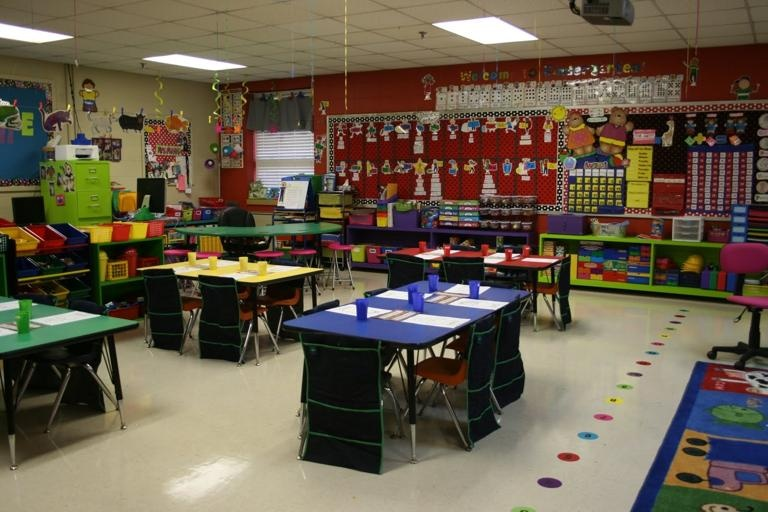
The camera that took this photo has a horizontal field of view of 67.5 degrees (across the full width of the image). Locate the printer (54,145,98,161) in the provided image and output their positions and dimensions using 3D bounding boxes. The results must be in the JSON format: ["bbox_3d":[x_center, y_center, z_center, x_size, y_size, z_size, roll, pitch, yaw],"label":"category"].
[{"bbox_3d":[-4.502,-1.490,8.337,0.384,0.175,0.385,1,5,29],"label":"printer"}]

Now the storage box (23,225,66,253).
[{"bbox_3d":[-4.295,-0.237,7.296,0.447,0.157,0.291,30,30,23],"label":"storage box"}]

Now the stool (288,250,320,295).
[{"bbox_3d":[-1.267,0.233,9.753,0.471,0.666,0.453,-1,3,6],"label":"stool"}]

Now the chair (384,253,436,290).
[{"bbox_3d":[0.277,0.161,7.263,0.434,0.657,0.489,5,8,29],"label":"chair"}]

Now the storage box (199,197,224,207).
[{"bbox_3d":[-3.704,-1.154,12.287,0.367,0.173,0.721,-12,17,-39],"label":"storage box"}]

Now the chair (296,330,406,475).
[{"bbox_3d":[-0.279,1.153,4.908,0.766,1.055,0.770,3,5,7],"label":"chair"}]

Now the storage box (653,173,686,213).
[{"bbox_3d":[4.678,-1.008,9.512,0.539,0.663,0.391,3,-2,3],"label":"storage box"}]

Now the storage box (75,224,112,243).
[{"bbox_3d":[-3.900,-0.303,7.759,0.287,0.172,0.292,2,4,28],"label":"storage box"}]

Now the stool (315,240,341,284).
[{"bbox_3d":[-0.986,0.112,11.400,0.400,0.703,0.415,-5,3,40],"label":"stool"}]

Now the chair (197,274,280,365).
[{"bbox_3d":[-1.722,0.670,6.799,0.796,1.057,0.674,5,15,21],"label":"chair"}]

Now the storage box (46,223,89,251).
[{"bbox_3d":[-4.140,-0.252,7.585,0.410,0.142,0.276,21,23,29],"label":"storage box"}]

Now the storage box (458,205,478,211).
[{"bbox_3d":[1.569,-0.866,10.421,0.331,0.097,0.067,3,15,13],"label":"storage box"}]

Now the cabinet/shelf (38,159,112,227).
[{"bbox_3d":[-4.460,-0.921,8.261,0.968,0.903,0.478,3,15,15],"label":"cabinet/shelf"}]

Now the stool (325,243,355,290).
[{"bbox_3d":[-0.831,0.159,10.320,0.550,0.767,0.599,2,9,-31],"label":"stool"}]

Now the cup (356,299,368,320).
[{"bbox_3d":[-0.190,0.478,5.058,0.158,0.227,0.150,0,-4,0],"label":"cup"}]

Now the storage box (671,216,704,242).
[{"bbox_3d":[4.760,-0.418,8.979,0.417,0.386,0.420,2,5,37],"label":"storage box"}]

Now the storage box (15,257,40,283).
[{"bbox_3d":[-4.433,0.143,7.122,0.252,0.253,0.258,-12,18,-38],"label":"storage box"}]

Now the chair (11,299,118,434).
[{"bbox_3d":[-2.805,1.030,5.431,0.890,0.939,0.890,4,3,19],"label":"chair"}]

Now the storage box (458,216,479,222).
[{"bbox_3d":[1.553,-0.680,10.419,0.362,0.104,0.031,5,16,21],"label":"storage box"}]

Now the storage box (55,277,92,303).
[{"bbox_3d":[-4.135,0.404,7.623,0.555,0.200,0.382,5,7,36],"label":"storage box"}]

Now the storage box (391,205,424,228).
[{"bbox_3d":[0.445,-0.875,11.025,0.666,0.440,0.358,2,7,21],"label":"storage box"}]

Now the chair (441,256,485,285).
[{"bbox_3d":[1.014,0.135,7.271,0.372,0.494,0.416,4,8,24],"label":"chair"}]

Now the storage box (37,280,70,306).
[{"bbox_3d":[-4.004,0.452,6.927,0.357,0.136,0.237,19,20,32],"label":"storage box"}]

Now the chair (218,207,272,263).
[{"bbox_3d":[-2.450,-0.391,10.159,0.951,1.087,0.937,3,6,42],"label":"chair"}]

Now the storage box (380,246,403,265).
[{"bbox_3d":[0.065,-0.044,10.898,0.417,0.408,0.325,0,-2,44],"label":"storage box"}]

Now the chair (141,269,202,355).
[{"bbox_3d":[-2.619,0.606,7.164,0.694,0.975,0.760,0,5,28],"label":"chair"}]

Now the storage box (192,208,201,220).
[{"bbox_3d":[-3.597,-0.797,11.054,0.206,0.218,0.189,1,-1,-1],"label":"storage box"}]

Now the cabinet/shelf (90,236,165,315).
[{"bbox_3d":[-3.475,0.282,7.694,0.341,0.954,1.063,2,6,20],"label":"cabinet/shelf"}]

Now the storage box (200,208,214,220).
[{"bbox_3d":[-3.421,-0.811,11.187,0.213,0.213,0.309,-1,3,24],"label":"storage box"}]

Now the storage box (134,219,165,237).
[{"bbox_3d":[-3.426,-0.394,8.323,0.263,0.157,0.265,0,2,29],"label":"storage box"}]

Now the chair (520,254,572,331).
[{"bbox_3d":[2.222,0.468,7.792,0.609,0.859,0.581,-2,10,24],"label":"chair"}]

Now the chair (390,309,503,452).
[{"bbox_3d":[0.582,1.085,5.153,0.859,1.006,0.670,4,2,26],"label":"chair"}]

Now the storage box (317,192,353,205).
[{"bbox_3d":[-0.906,-1.145,11.415,0.524,0.311,0.516,7,16,28],"label":"storage box"}]

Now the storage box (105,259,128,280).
[{"bbox_3d":[-3.636,0.204,7.893,0.259,0.236,0.261,-1,-1,27],"label":"storage box"}]

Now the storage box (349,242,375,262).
[{"bbox_3d":[-0.435,-0.068,11.402,0.357,0.339,0.357,4,6,29],"label":"storage box"}]

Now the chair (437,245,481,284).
[{"bbox_3d":[1.045,0.101,7.413,0.406,0.536,0.474,4,10,20],"label":"chair"}]

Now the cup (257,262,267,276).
[{"bbox_3d":[-1.431,0.140,6.778,0.149,0.158,0.148,0,-3,0],"label":"cup"}]

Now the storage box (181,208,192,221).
[{"bbox_3d":[-3.752,-0.778,10.902,0.219,0.229,0.229,1,2,32],"label":"storage box"}]

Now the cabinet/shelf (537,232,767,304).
[{"bbox_3d":[4.337,0.227,9.186,2.264,0.622,0.541,10,14,19],"label":"cabinet/shelf"}]
